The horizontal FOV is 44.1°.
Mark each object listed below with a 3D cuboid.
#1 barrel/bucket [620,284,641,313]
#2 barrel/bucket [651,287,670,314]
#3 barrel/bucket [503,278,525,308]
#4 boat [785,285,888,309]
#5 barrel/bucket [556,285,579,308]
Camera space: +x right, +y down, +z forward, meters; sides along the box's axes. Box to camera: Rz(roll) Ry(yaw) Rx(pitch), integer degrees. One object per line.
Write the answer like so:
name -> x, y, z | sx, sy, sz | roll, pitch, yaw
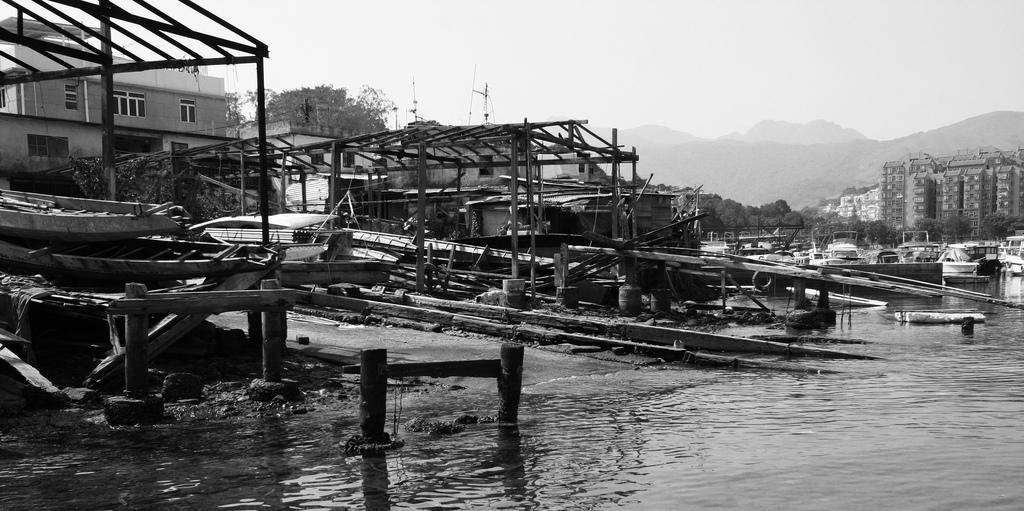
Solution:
barrel/bucket -> 5.135, 1.964, 55.088 | 0.862, 1.206, 0.461 | 1, 1, 8
barrel/bucket -> 6.815, 2.058, 56.287 | 1.339, 0.938, 1.079 | 0, -6, 0
barrel/bucket -> 0.095, 1.631, 54.041 | 0.934, 1.184, 0.728 | 1, 1, -5
boat -> 16.179, 2.118, 63.119 | 4.992, 0.501, 1.071 | 7, 2, 32
barrel/bucket -> 2.412, 1.843, 55.412 | 0.737, 0.665, 1.152 | -1, -6, -23
